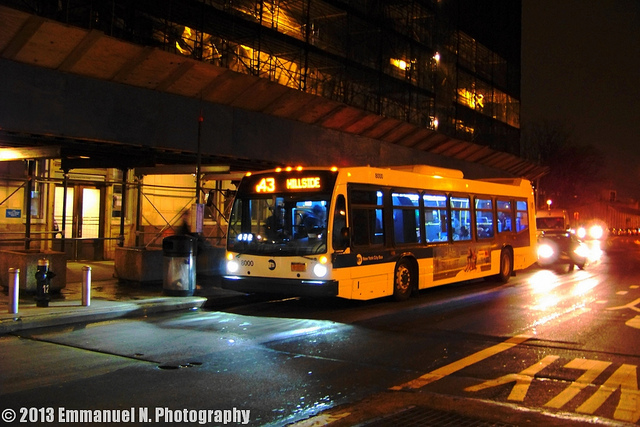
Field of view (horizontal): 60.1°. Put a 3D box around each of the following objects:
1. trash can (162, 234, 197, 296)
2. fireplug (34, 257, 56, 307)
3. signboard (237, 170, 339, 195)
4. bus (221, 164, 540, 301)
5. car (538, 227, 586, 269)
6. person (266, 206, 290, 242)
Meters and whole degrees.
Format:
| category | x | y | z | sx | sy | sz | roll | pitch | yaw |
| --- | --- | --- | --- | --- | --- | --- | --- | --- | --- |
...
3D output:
| category | x | y | z | sx | sy | sz | roll | pitch | yaw |
| --- | --- | --- | --- | --- | --- | --- | --- | --- | --- |
| trash can | -3.896 | 1.468 | 15.400 | 0.882 | 1.688 | 0.521 | 0 | 4 | -18 |
| fireplug | -6.685 | 1.707 | 13.477 | 0.412 | 1.068 | 0.578 | -1 | 4 | -29 |
| signboard | -0.822 | -0.834 | 14.677 | 2.731 | 0.702 | 0.404 | 3 | 4 | 28 |
| bus | 2.873 | 0.497 | 18.666 | 3.885 | 4.239 | 12.511 | -3 | -5 | 42 |
| car | 11.249 | 1.564 | 25.887 | 1.419 | 1.208 | 2.415 | -6 | -9 | 42 |
| person | -1.060 | 0.264 | 14.431 | 0.688 | 0.909 | 0.241 | 4 | 5 | 39 |
